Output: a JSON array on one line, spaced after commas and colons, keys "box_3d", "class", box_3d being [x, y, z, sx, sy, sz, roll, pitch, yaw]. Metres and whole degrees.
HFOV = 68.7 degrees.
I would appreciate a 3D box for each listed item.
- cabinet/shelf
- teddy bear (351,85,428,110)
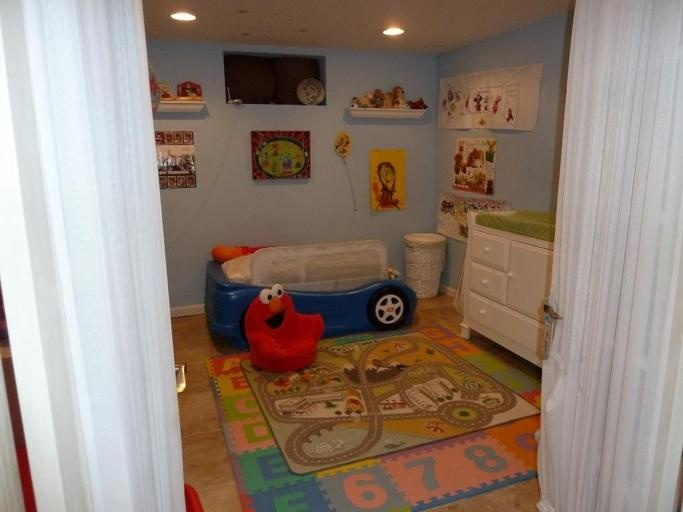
[{"box_3d": [1.081, 0.280, 3.613, 0.905, 0.877, 0.352, 17, -17, -31], "class": "cabinet/shelf"}, {"box_3d": [0.458, -1.515, 4.845, 0.520, 0.181, 0.355, -5, 20, -11], "class": "teddy bear"}]
